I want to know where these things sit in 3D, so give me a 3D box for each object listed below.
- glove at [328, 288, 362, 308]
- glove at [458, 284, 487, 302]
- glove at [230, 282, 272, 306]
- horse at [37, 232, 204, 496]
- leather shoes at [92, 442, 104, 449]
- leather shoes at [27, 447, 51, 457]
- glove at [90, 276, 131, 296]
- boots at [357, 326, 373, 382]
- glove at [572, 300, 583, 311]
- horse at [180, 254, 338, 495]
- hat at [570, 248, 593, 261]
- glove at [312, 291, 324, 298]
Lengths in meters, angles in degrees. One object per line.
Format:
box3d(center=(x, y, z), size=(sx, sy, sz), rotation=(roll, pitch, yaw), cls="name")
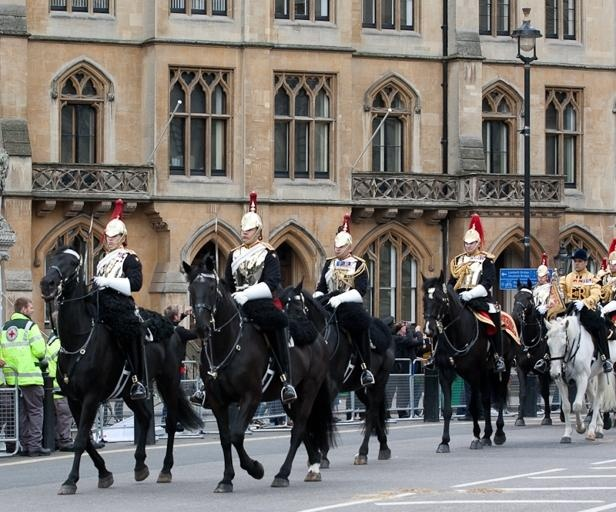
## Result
box3d(center=(0.599, 0.656, 32.044), size=(0.429, 0.142, 0.318), rotation=(-16, -2, -6), cls="glove")
box3d(center=(2.855, 0.602, 34.322), size=(0.286, 0.178, 0.393), rotation=(-9, -3, 44), cls="glove")
box3d(center=(-0.839, 0.532, 29.874), size=(0.481, 0.207, 0.324), rotation=(-15, 44, -22), cls="glove")
box3d(center=(-2.955, 1.890, 30.935), size=(1.488, 3.634, 5.291), rotation=(-6, -7, 21), cls="horse")
box3d(center=(-3.611, 3.264, 34.160), size=(0.273, 0.088, 0.260), rotation=(2, 5, -10), cls="leather shoes")
box3d(center=(-4.521, 3.278, 33.351), size=(0.397, 0.166, 0.136), rotation=(-6, 12, -40), cls="leather shoes")
box3d(center=(-2.965, 0.439, 30.159), size=(0.411, 0.203, 0.293), rotation=(7, 0, -1), cls="glove")
box3d(center=(0.945, 1.641, 32.218), size=(0.246, 0.877, 0.421), rotation=(-2, -3, 1), cls="boots")
box3d(center=(4.914, 0.858, 35.674), size=(0.154, 0.177, 0.175), rotation=(-1, -3, -3), cls="glove")
box3d(center=(-0.834, 1.747, 29.848), size=(1.049, 3.533, 2.833), rotation=(-4, -3, 35), cls="horse")
box3d(center=(6.210, -0.100, 44.724), size=(0.346, 0.214, 0.477), rotation=(3, 3, 20), cls="hat")
box3d(center=(0.169, 0.604, 32.722), size=(0.131, 0.117, 0.127), rotation=(0, 0, -4), cls="glove")
